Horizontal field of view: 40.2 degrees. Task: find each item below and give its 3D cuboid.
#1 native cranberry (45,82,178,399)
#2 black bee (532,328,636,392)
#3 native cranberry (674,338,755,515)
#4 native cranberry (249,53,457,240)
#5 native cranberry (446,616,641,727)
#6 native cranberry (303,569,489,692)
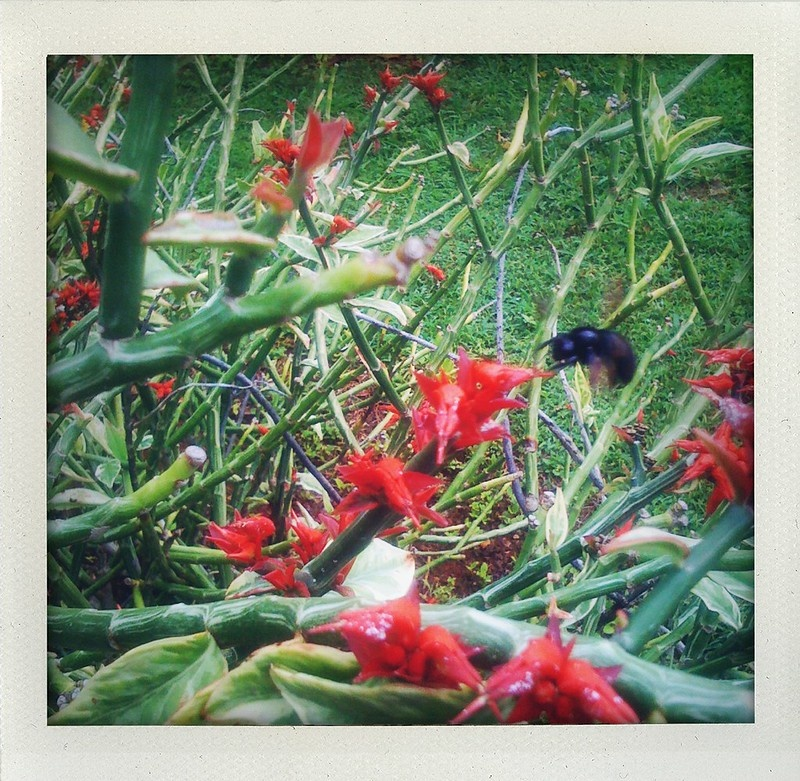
[{"bbox_3d":[-0.479,-0.310,1.770,0.211,0.457,0.073,5,6,20],"label":"native cranberry"},{"bbox_3d":[0.325,-0.050,1.830,0.181,0.098,0.102,-4,7,-10],"label":"black bee"},{"bbox_3d":[0.525,0.065,1.820,0.129,0.277,0.064,3,6,7],"label":"native cranberry"},{"bbox_3d":[-0.042,-0.447,1.836,0.347,0.121,0.243,-31,-31,-9],"label":"native cranberry"},{"bbox_3d":[0.239,0.466,1.701,0.215,0.163,0.075,0,-5,2],"label":"native cranberry"},{"bbox_3d":[-0.005,0.396,1.772,0.279,0.147,0.050,3,6,4],"label":"native cranberry"}]
